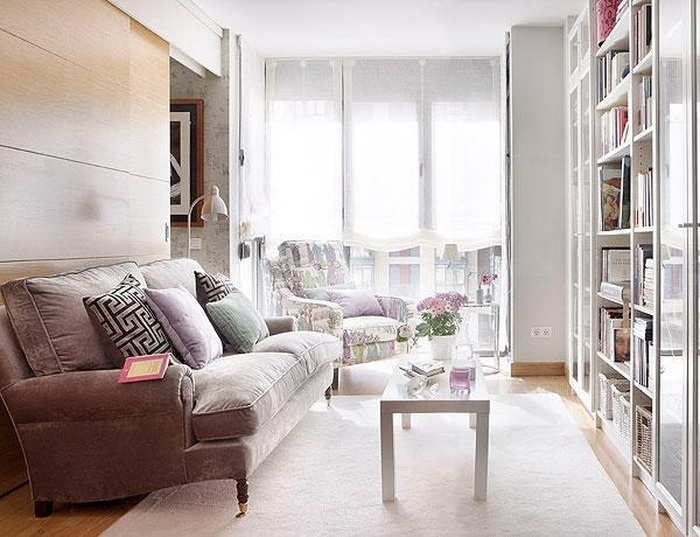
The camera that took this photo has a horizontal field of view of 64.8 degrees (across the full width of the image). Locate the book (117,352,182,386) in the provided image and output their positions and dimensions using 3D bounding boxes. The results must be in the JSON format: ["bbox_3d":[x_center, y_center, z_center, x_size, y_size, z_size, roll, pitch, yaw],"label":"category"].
[{"bbox_3d":[-0.943,0.465,2.542,0.157,0.045,0.167,-2,32,0],"label":"book"}]

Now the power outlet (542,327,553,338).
[{"bbox_3d":[1.703,0.558,4.725,0.076,0.077,0.020,0,2,2],"label":"power outlet"}]

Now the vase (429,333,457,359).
[{"bbox_3d":[0.564,0.465,3.305,0.137,0.118,0.152,1,-5,-1],"label":"vase"}]

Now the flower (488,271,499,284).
[{"bbox_3d":[1.367,0.092,5.208,0.120,0.117,0.029,-4,1,-43],"label":"flower"}]

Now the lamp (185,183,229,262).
[{"bbox_3d":[-1.102,-0.365,4.335,0.328,0.603,0.924,-3,7,-14],"label":"lamp"}]

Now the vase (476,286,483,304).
[{"bbox_3d":[1.168,0.249,4.896,0.049,0.110,0.133,4,8,36],"label":"vase"}]

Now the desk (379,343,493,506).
[{"bbox_3d":[0.448,0.699,2.870,0.495,0.459,0.997,0,2,7],"label":"desk"}]

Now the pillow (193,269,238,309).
[{"bbox_3d":[-0.881,0.143,3.602,0.224,0.156,0.080,-15,-22,-34],"label":"pillow"}]

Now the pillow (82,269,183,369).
[{"bbox_3d":[-1.116,0.295,2.821,0.127,0.443,0.440,-29,-3,22],"label":"pillow"}]

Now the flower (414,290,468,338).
[{"bbox_3d":[0.555,0.289,3.427,0.316,0.322,0.252,-1,-4,-30],"label":"flower"}]
